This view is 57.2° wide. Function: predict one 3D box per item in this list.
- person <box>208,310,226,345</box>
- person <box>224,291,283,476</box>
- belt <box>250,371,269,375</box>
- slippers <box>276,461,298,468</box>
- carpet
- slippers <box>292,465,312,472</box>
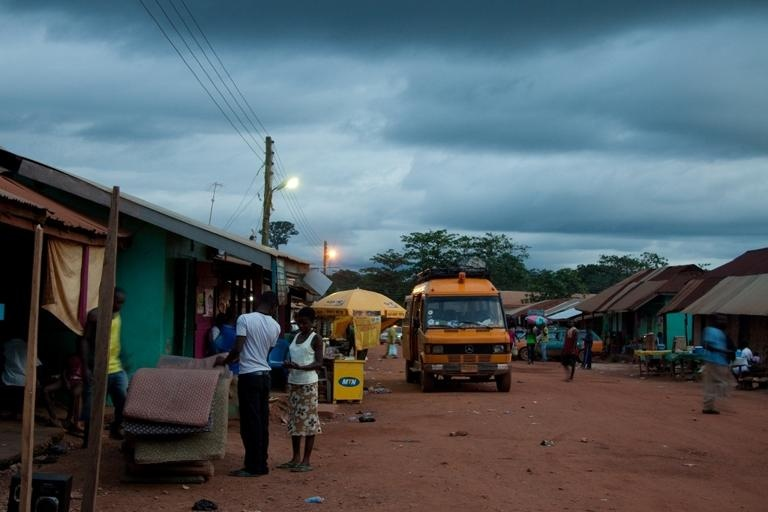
[{"bbox_3d":[-3.539,1.492,14.980,0.350,0.745,2.360,2,-9,-13],"label":"person"},{"bbox_3d":[-2.004,1.904,10.639,0.832,2.761,0.620,5,-10,-29],"label":"person"},{"bbox_3d":[-1.846,1.741,10.536,0.248,0.068,0.051,6,-11,-36],"label":"belt"},{"bbox_3d":[-1.504,3.255,10.938,0.345,0.123,0.119,3,-9,5],"label":"slippers"},{"bbox_3d":[-2.986,2.331,10.335,1.214,1.072,1.610,2,-10,-9],"label":"carpet"},{"bbox_3d":[-1.262,3.255,10.783,0.236,0.063,0.117,5,-6,-5],"label":"slippers"}]
